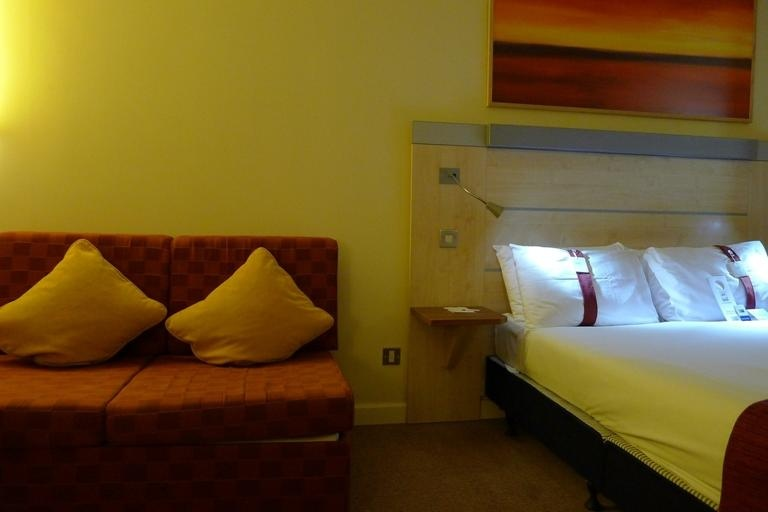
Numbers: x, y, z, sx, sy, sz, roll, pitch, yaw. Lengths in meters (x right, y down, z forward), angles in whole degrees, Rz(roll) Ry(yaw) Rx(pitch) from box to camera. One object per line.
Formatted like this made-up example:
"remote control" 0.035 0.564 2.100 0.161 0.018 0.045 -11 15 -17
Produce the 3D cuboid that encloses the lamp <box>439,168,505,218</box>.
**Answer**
"lamp" 0.602 -0.436 4.215 0.439 0.323 0.136 7 14 13
